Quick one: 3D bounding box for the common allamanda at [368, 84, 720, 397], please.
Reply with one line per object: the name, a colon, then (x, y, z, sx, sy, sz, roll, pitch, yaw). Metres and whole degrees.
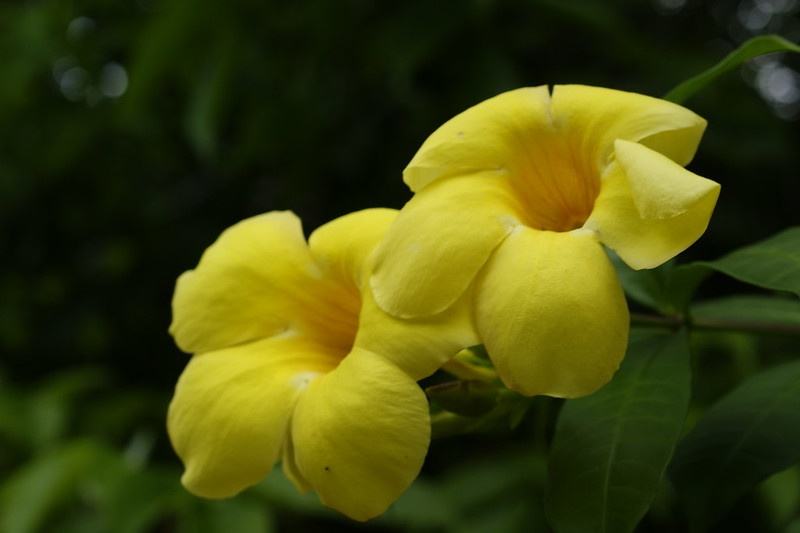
common allamanda: (0.252, -0.135, 1.478, 0.595, 0.227, 0.591, 13, 92, 53)

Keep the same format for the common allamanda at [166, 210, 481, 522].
common allamanda: (-0.095, 0.196, 1.538, 0.524, 0.214, 0.531, -10, 57, 29)
